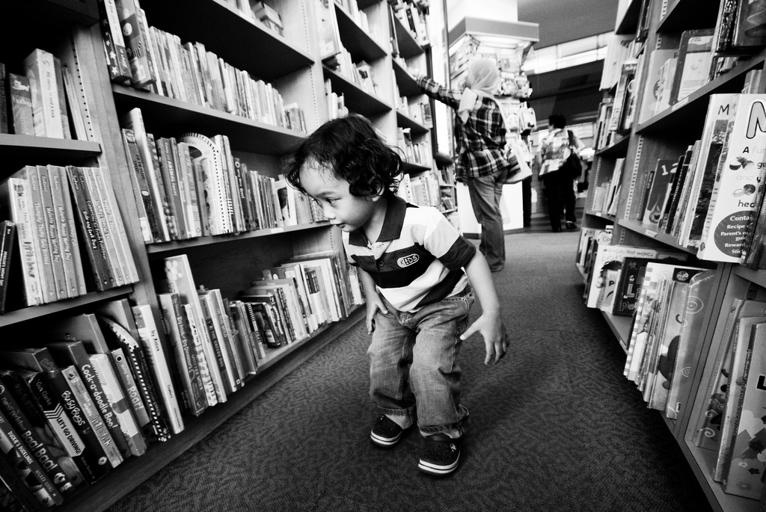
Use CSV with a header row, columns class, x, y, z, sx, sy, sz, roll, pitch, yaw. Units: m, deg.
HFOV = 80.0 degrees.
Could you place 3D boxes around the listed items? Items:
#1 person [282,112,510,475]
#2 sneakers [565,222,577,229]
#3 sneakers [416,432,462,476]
class,x,y,z,sx,sy,sz,roll,pitch,yaw
person,0.080,0.080,1.520,0.636,1.096,0.412,7,17,38
sneakers,2.286,-0.361,5.521,0.089,0.048,0.127,-4,6,15
sneakers,0.180,0.610,1.426,0.153,0.099,0.103,-4,13,-2
